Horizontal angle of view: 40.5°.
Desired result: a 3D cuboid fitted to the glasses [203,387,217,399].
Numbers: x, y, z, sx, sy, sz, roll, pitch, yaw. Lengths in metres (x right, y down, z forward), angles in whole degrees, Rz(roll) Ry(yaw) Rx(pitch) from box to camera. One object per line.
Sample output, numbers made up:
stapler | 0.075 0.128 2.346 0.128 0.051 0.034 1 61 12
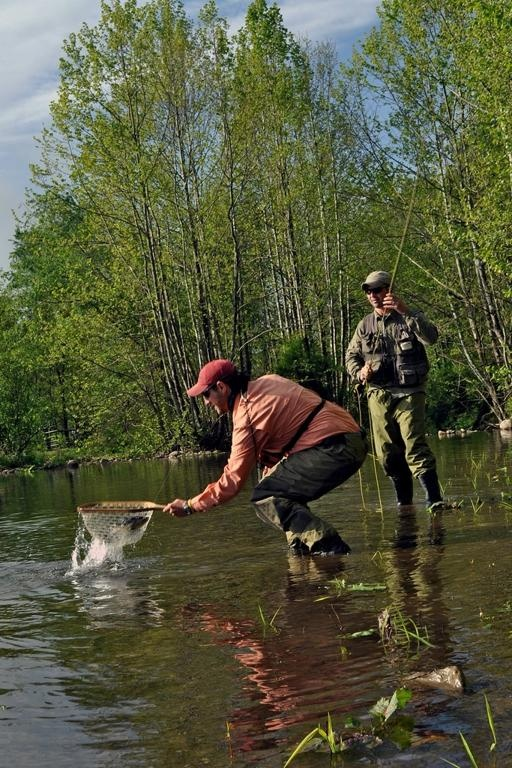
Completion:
glasses | -0.360 0.059 5.125 0.027 0.092 0.093 31 -19 -18

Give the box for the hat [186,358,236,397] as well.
hat | -0.385 -0.047 5.160 0.367 0.180 0.227 -23 8 5

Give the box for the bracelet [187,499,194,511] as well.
bracelet | -0.498 0.904 5.119 0.019 0.064 0.064 -15 6 -1

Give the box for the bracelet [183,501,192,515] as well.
bracelet | -0.520 0.927 5.152 0.073 0.096 0.103 5 37 -10

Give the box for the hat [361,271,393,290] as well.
hat | 1.136 -0.987 6.427 0.167 0.122 0.255 -13 -13 40

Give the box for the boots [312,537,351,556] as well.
boots | 0.533 1.191 5.059 0.195 0.101 0.203 17 19 36

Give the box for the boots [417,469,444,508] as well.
boots | 1.652 0.983 6.547 0.181 0.358 0.472 -10 -4 11

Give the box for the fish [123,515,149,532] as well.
fish | -0.979 1.113 5.593 0.198 0.100 0.118 -7 -4 -18
